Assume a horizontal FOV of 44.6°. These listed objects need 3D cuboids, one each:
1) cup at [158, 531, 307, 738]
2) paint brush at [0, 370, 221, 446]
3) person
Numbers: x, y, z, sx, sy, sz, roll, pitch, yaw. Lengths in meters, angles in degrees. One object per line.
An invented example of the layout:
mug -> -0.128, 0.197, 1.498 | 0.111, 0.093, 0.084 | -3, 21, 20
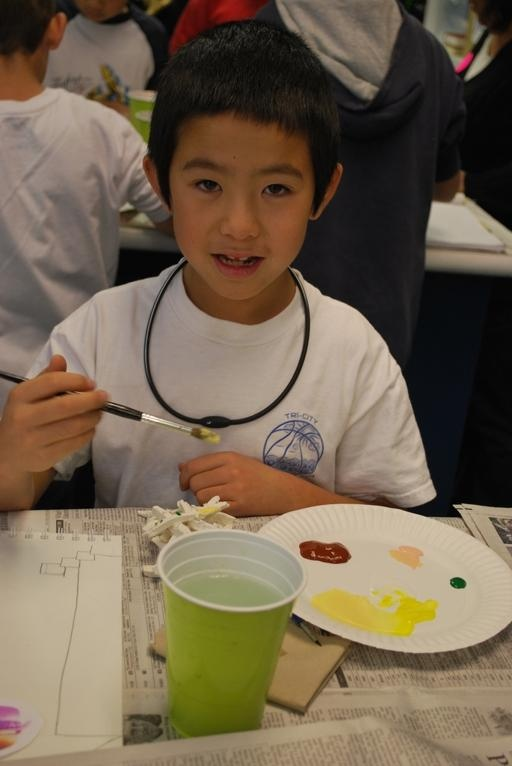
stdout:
cup -> -0.026, 0.184, 0.460 | 0.101, 0.154, 0.097 | 7, 26, -3
paint brush -> -0.181, 0.028, 0.807 | 0.270, 0.015, 0.020 | 20, -10, 2
person -> 0.060, -0.230, 1.125 | 0.876, 1.053, 0.402 | 5, 15, 6
